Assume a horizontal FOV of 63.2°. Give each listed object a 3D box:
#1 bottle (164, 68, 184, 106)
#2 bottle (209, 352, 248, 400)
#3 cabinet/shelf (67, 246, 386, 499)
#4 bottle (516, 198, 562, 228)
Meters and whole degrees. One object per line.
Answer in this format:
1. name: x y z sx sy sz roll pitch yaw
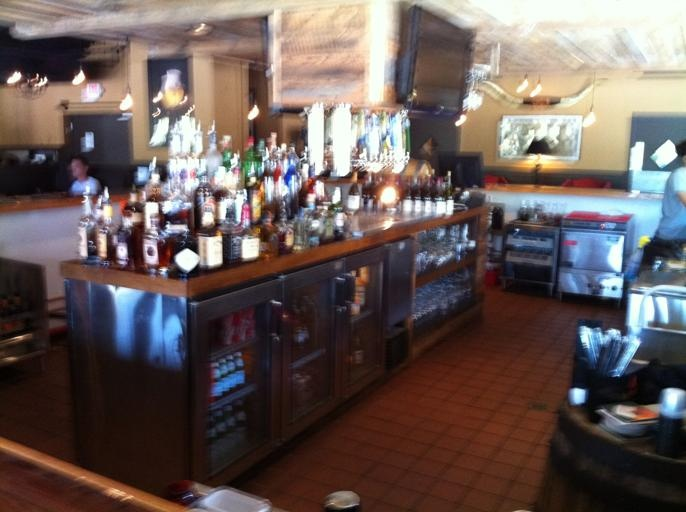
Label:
1. bottle: -1.949 -1.923 6.404 0.245 0.418 0.173 -3 14 -17
2. bottle: -0.536 0.547 2.583 0.076 0.090 0.234 1 6 5
3. cabinet/shelf: -0.507 0.465 3.149 0.828 0.915 1.676 6 11 29
4. bottle: 2.031 -0.440 5.777 0.424 0.190 0.343 7 15 25
